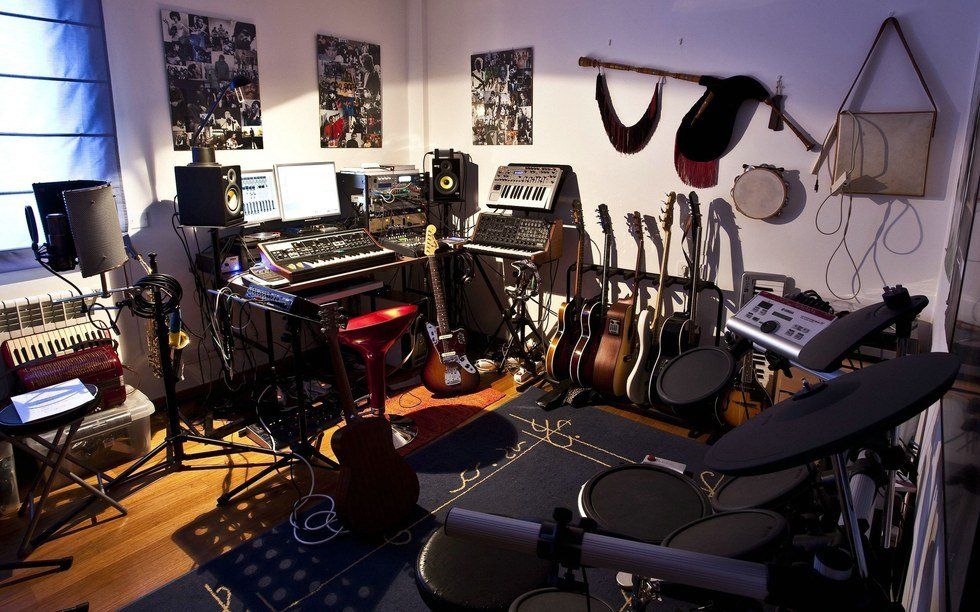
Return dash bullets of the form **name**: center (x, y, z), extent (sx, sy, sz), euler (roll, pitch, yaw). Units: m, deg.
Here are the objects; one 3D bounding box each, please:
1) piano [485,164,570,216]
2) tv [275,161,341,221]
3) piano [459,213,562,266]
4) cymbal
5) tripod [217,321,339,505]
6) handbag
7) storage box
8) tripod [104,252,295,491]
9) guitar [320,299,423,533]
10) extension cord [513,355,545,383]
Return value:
- **piano**: center (0.334, -1.061, 5.892), extent (0.668, 0.405, 0.338), euler (13, 21, 32)
- **tv**: center (-1.553, -0.972, 5.571), extent (0.455, 0.384, 0.048), euler (-21, 22, -37)
- **piano**: center (0.218, -0.612, 5.825), extent (0.841, 0.381, 0.467), euler (16, 38, 31)
- **cymbal**: center (1.198, 0.374, 2.307), extent (0.565, 0.139, 0.569), euler (-30, 10, -1)
- **tripod**: center (-1.604, 0.825, 4.953), extent (0.818, 1.056, 0.805), euler (13, 19, 19)
- **handbag**: center (2.750, -1.363, 4.588), extent (0.630, 1.195, 0.181), euler (9, 19, 25)
- **storage box**: center (-2.778, 0.836, 4.662), extent (0.521, 0.368, 0.671), euler (27, 34, 33)
- **tripod**: center (-1.975, 0.447, 5.129), extent (1.510, 1.979, 1.491), euler (-5, 8, -14)
- **guitar**: center (-0.802, 0.639, 4.437), extent (0.563, 1.415, 0.978), euler (-4, 18, -15)
- **extension cord**: center (0.334, 0.564, 5.896), extent (0.128, 0.157, 0.399), euler (8, 18, 29)
